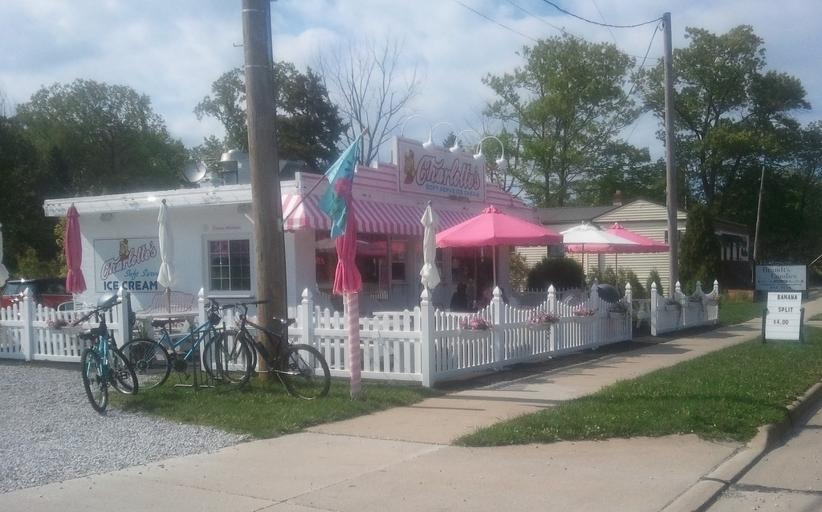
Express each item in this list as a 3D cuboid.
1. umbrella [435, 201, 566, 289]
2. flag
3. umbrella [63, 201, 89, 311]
[{"bbox_3d":[2.684,-0.281,28.145,2.760,2.145,2.828,0,3,23],"label":"umbrella"},{"bbox_3d":[-1.732,-1.596,22.937,1.001,2.445,3.318,-2,-1,-4],"label":"flag"},{"bbox_3d":[-9.987,-0.175,27.887,0.507,2.618,0.757,-2,0,-19],"label":"umbrella"}]
